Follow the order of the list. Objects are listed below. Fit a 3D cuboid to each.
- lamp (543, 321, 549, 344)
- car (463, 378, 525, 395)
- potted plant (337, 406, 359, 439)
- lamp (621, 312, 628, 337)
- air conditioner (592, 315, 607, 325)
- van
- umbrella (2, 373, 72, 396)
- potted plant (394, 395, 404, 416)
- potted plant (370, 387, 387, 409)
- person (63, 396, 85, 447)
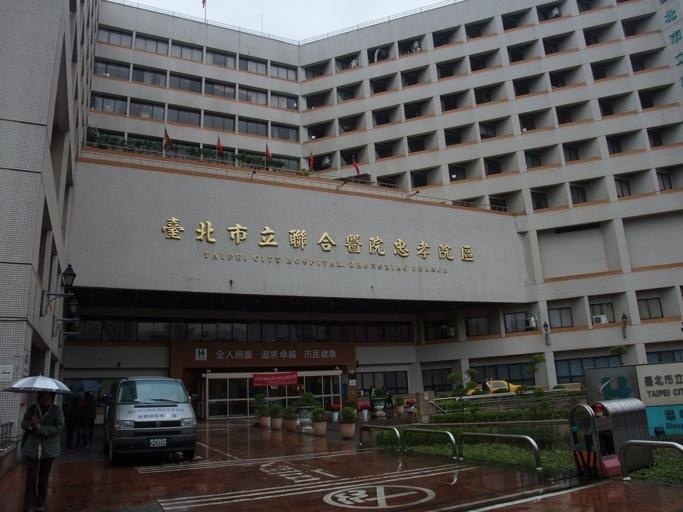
[{"bbox_3d":[14.541,5.431,41.417,0.418,1.762,0.694,-7,-14,21],"label":"lamp"},{"bbox_3d":[9.313,8.279,35.982,3.410,1.023,1.473,1,-11,-2],"label":"car"},{"bbox_3d":[0.215,6.563,22.972,0.618,1.197,0.847,-2,-13,-1],"label":"potted plant"},{"bbox_3d":[19.277,4.674,39.740,0.489,1.746,1.116,-9,-14,25],"label":"lamp"},{"bbox_3d":[18.061,4.500,40.874,1.085,0.706,0.579,-7,-30,28],"label":"air conditioner"},{"bbox_3d":[-5.784,4.760,17.397,1.989,1.611,3.467,4,-21,-23],"label":"van"},{"bbox_3d":[-6.636,2.928,13.069,0.883,0.313,0.853,-3,-20,8],"label":"umbrella"},{"bbox_3d":[3.264,8.469,33.015,0.913,1.129,0.870,0,-12,3],"label":"potted plant"},{"bbox_3d":[2.072,8.127,33.303,0.840,1.127,2.459,-3,-12,3],"label":"potted plant"},{"bbox_3d":[-9.907,6.070,21.625,0.559,1.846,1.317,3,-14,-22],"label":"person"}]
